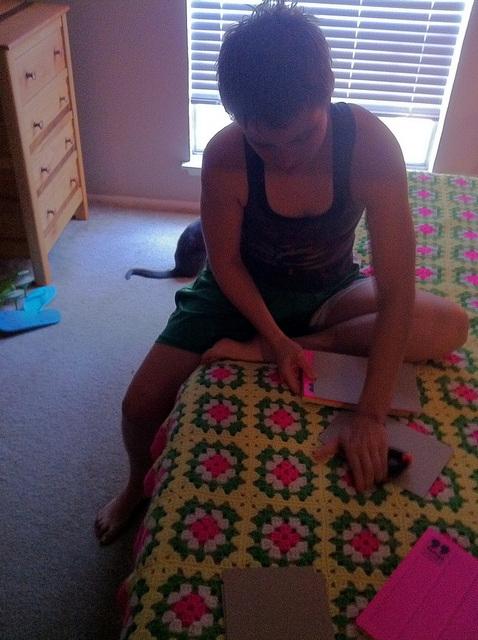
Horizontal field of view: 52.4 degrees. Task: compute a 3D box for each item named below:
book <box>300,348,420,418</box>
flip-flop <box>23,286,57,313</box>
[{"bbox_3d":[0.227,0.119,0.906,0.135,0.032,0.147,8,33,11],"label":"book"},{"bbox_3d":[-0.801,-0.087,1.930,0.084,0.027,0.113,27,60,20],"label":"flip-flop"}]
